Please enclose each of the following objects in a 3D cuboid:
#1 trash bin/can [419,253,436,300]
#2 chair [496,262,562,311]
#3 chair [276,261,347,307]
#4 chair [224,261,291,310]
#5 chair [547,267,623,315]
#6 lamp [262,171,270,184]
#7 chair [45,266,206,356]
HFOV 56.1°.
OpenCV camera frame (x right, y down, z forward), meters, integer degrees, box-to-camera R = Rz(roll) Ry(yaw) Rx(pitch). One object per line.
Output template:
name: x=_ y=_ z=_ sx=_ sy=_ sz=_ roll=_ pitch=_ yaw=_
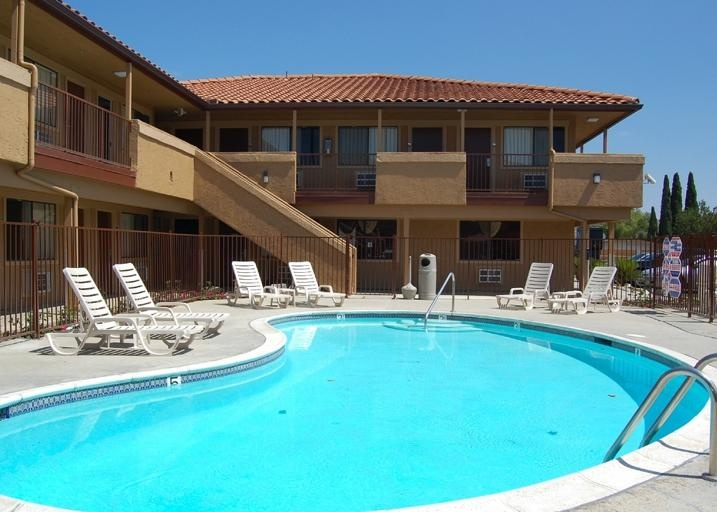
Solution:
trash bin/can: x=2.282 y=0.721 z=22.045 sx=0.604 sy=1.434 sz=0.592 roll=3 pitch=-3 yaw=-38
chair: x=5.077 y=0.929 z=20.404 sx=1.724 sy=1.268 sz=1.054 roll=-3 pitch=3 yaw=-35
chair: x=-1.296 y=0.817 z=20.411 sx=1.014 sy=1.298 sz=2.045 roll=1 pitch=-1 yaw=-37
chair: x=-2.933 y=0.828 z=19.887 sx=2.097 sy=1.317 sz=1.159 roll=0 pitch=-3 yaw=43
chair: x=6.657 y=1.043 z=19.981 sx=2.430 sy=1.488 sz=1.340 roll=-1 pitch=0 yaw=-27
lamp: x=-3.168 y=-2.706 z=23.178 sx=0.237 sy=0.410 sz=0.107 roll=-5 pitch=13 yaw=-16
chair: x=-5.020 y=1.143 z=14.675 sx=3.243 sy=2.015 sz=1.748 roll=0 pitch=0 yaw=2
